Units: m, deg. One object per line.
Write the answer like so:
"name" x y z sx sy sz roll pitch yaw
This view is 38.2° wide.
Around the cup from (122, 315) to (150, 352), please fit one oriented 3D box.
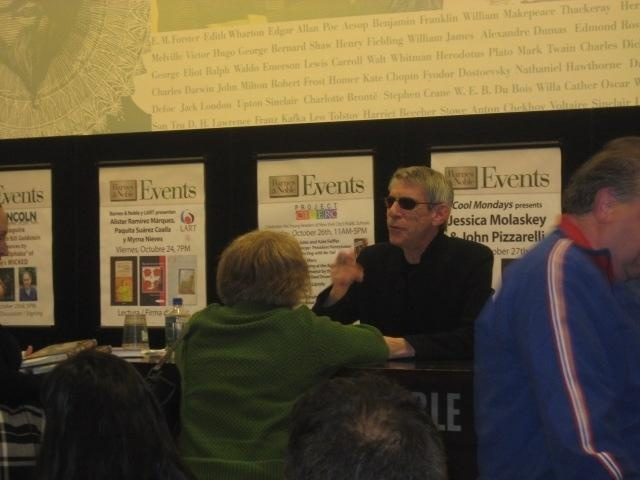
"cup" -1.068 0.553 5.517 0.175 0.208 0.191 0 -5 0
